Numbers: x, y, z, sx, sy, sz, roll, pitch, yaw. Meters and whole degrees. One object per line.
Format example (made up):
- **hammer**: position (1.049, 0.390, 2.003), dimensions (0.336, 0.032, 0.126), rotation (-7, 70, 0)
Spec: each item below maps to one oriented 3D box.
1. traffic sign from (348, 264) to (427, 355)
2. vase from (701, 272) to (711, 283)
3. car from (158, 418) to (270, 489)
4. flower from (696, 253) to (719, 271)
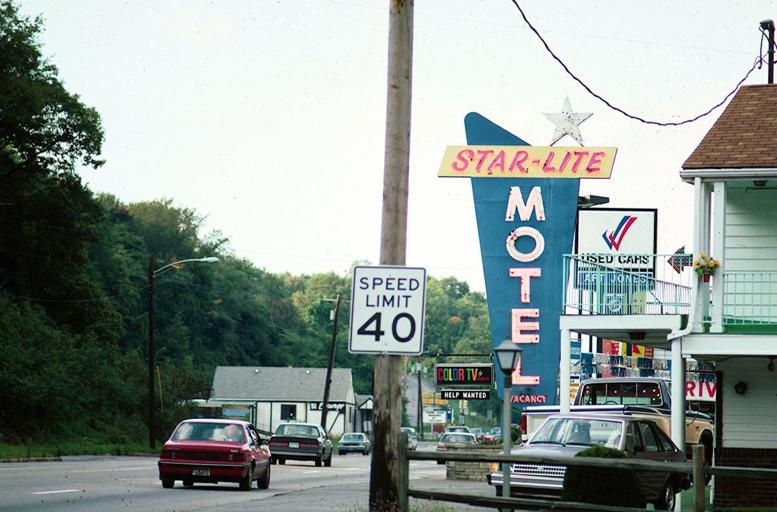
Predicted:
- **traffic sign**: position (-0.023, 1.395, 32.947), dimensions (1.954, 2.341, 0.319), rotation (1, -8, 1)
- **vase**: position (10.431, 0.722, 41.354), dimensions (0.342, 0.264, 0.244), rotation (0, -9, 6)
- **car**: position (-6.201, 7.038, 45.813), dimensions (3.351, 2.274, 5.992), rotation (2, -3, 7)
- **flower**: position (10.405, 0.266, 41.199), dimensions (0.578, 0.560, 0.620), rotation (14, -21, 15)
